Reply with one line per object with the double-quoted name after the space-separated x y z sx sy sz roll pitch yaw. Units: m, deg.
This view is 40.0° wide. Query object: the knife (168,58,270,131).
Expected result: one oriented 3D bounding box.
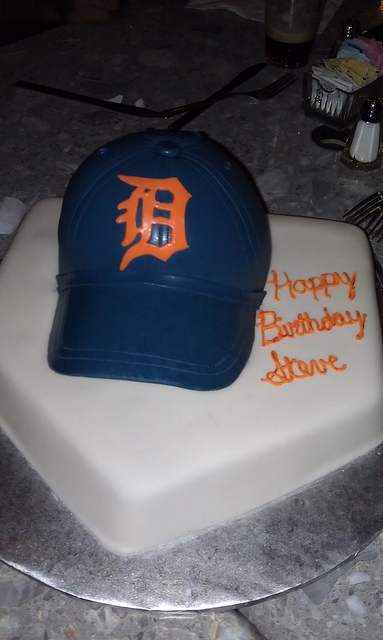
0.046 -0.411 0.963 0.026 0.020 0.289 36 63 20 "knife"
